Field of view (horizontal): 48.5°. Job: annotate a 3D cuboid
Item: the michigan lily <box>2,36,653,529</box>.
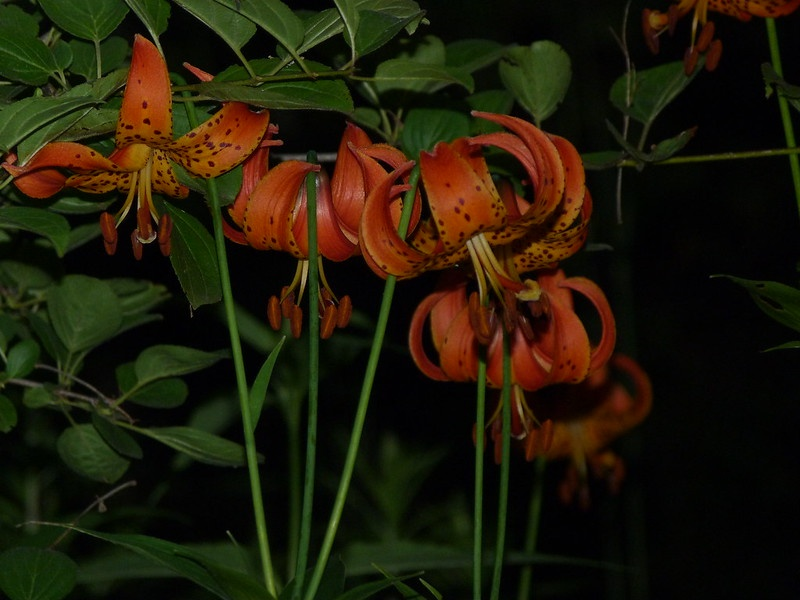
[{"bbox_3d":[-0.034,-0.088,1.092,0.551,0.324,0.618,11,-30,18],"label":"michigan lily"}]
